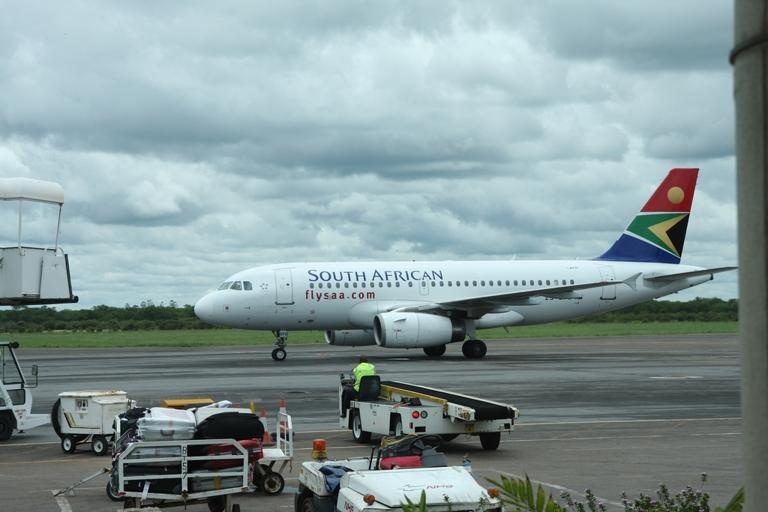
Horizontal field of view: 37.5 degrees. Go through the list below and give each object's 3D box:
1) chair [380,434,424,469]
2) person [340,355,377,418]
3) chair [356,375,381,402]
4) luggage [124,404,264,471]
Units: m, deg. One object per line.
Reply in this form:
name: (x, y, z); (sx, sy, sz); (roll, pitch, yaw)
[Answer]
chair: (0.354, 4.258, 24.565); (0.948, 0.604, 1.432); (-3, -2, 0)
person: (-0.784, 3.681, 31.565); (1.203, 1.524, 0.882); (-2, 8, -2)
chair: (-0.420, 3.633, 30.877); (0.917, 0.676, 0.700); (1, -6, -11)
luggage: (-4.232, 4.138, 25.629); (3.842, 1.273, 0.960); (2, 6, 1)
